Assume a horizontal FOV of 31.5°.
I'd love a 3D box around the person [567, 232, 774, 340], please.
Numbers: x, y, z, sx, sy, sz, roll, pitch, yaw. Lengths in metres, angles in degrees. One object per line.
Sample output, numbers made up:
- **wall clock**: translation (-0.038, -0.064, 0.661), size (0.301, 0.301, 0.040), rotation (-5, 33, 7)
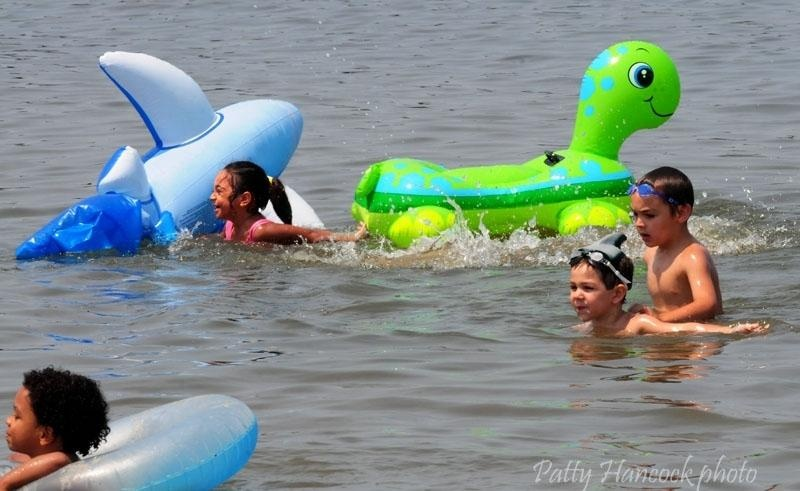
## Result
- **person**: translation (2.461, 0.437, 14.649), size (1.381, 0.859, 0.578), rotation (-4, 24, 10)
